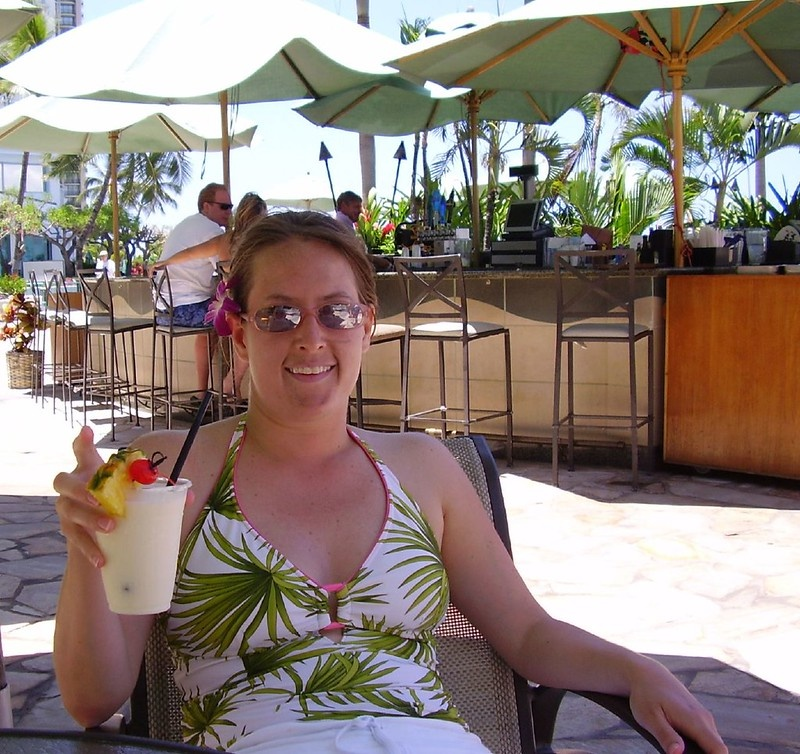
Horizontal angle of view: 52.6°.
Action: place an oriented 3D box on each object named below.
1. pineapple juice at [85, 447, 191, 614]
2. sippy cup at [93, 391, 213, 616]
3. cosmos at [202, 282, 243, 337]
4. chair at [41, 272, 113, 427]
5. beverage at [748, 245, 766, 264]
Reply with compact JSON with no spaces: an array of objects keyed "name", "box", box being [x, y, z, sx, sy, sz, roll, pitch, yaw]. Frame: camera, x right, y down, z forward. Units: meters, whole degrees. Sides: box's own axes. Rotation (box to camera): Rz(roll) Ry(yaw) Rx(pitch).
[{"name":"pineapple juice","box":[-0.367,0.203,1.240,0.191,0.283,0.186,-3,7,-26]},{"name":"sippy cup","box":[-0.348,0.167,1.155,0.123,0.321,0.163,1,1,36]},{"name":"cosmos","box":[-0.363,-0.130,1.669,0.028,0.118,0.106,5,16,-24]},{"name":"chair","box":[-3.153,-0.398,8.299,0.494,1.137,2.009,-3,6,-36]},{"name":"beverage","box":[2.431,-0.850,5.534,0.115,0.132,0.372,2,8,22]}]
